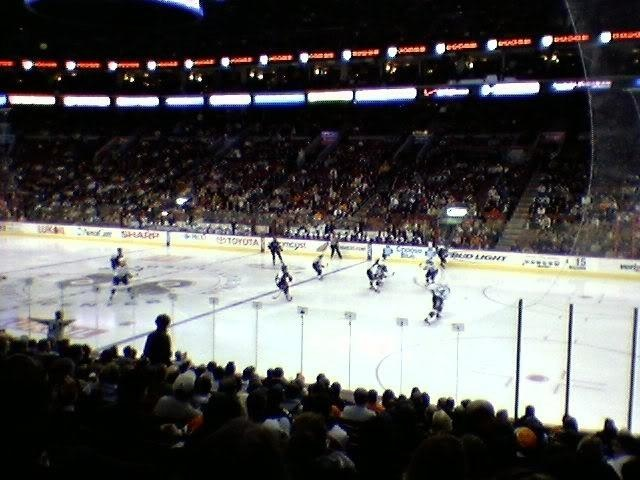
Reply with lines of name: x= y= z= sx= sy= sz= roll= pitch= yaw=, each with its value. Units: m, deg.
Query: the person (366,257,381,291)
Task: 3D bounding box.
person: x=1.944 y=1.255 z=24.107 sx=0.543 sy=1.270 sz=0.461 roll=-1 pitch=34 yaw=7

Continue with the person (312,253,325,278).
person: x=-0.043 y=0.998 z=25.805 sx=0.434 sy=0.354 sz=0.734 roll=-27 pitch=-39 yaw=-17
